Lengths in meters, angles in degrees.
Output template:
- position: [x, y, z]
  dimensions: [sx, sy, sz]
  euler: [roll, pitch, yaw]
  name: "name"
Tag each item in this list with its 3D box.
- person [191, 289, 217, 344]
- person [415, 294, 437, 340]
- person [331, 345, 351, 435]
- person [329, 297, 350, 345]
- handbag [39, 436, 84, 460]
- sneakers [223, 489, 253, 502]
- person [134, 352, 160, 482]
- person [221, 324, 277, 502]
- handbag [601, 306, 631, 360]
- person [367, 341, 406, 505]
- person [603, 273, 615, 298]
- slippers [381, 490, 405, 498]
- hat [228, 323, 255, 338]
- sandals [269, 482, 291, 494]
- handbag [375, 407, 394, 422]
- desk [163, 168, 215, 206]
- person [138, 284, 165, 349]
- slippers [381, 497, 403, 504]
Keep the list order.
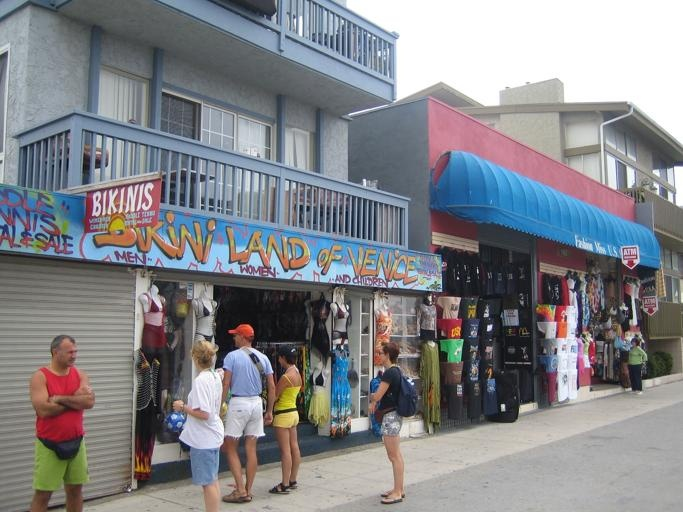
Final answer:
- position: [-2.318, 1.003, 11.308]
  dimensions: [0.301, 0.937, 0.666]
  euler: [-5, -10, 15]
  name: "person"
- position: [1.957, 1.439, 15.417]
  dimensions: [0.402, 1.085, 0.214]
  euler: [-2, -9, -2]
  name: "person"
- position: [-0.006, 2.695, 13.264]
  dimensions: [0.469, 1.732, 0.269]
  euler: [5, -12, -40]
  name: "person"
- position: [-0.030, 1.371, 13.394]
  dimensions: [0.237, 0.942, 0.487]
  euler: [-10, -12, 40]
  name: "person"
- position: [-3.352, 2.332, 8.102]
  dimensions: [0.305, 0.152, 0.324]
  euler: [5, -3, 31]
  name: "handbag"
- position: [-1.538, 3.575, 9.900]
  dimensions: [0.352, 0.179, 0.179]
  euler: [3, -8, 6]
  name: "sneakers"
- position: [-3.001, 2.483, 10.379]
  dimensions: [0.449, 1.994, 0.282]
  euler: [4, -11, -36]
  name: "person"
- position: [-1.400, 2.338, 9.949]
  dimensions: [0.814, 2.592, 0.645]
  euler: [1, -10, -20]
  name: "person"
- position: [9.566, 2.704, 23.436]
  dimensions: [0.837, 1.801, 0.881]
  euler: [-5, -10, 16]
  name: "handbag"
- position: [0.693, 2.503, 10.115]
  dimensions: [0.477, 2.366, 0.452]
  euler: [-3, -9, 5]
  name: "person"
- position: [9.513, 1.076, 23.724]
  dimensions: [0.364, 0.856, 0.227]
  euler: [-7, -10, 24]
  name: "person"
- position: [0.775, 3.591, 10.039]
  dimensions: [0.295, 0.092, 0.165]
  euler: [6, -12, -17]
  name: "slippers"
- position: [-1.597, 1.154, 10.278]
  dimensions: [0.454, 0.226, 0.310]
  euler: [1, -1, 24]
  name: "hat"
- position: [-0.967, 3.575, 10.314]
  dimensions: [0.260, 0.131, 0.145]
  euler: [2, -7, 12]
  name: "sandals"
- position: [0.631, 2.396, 10.050]
  dimensions: [0.191, 0.196, 0.224]
  euler: [3, -13, -11]
  name: "handbag"
- position: [-2.741, -1.210, 11.622]
  dimensions: [0.694, 0.758, 0.748]
  euler: [2, -12, -12]
  name: "desk"
- position: [-2.977, 0.983, 10.511]
  dimensions: [0.428, 0.987, 0.258]
  euler: [3, -11, -31]
  name: "person"
- position: [0.755, 3.629, 9.859]
  dimensions: [0.273, 0.085, 0.113]
  euler: [7, -15, -18]
  name: "slippers"
